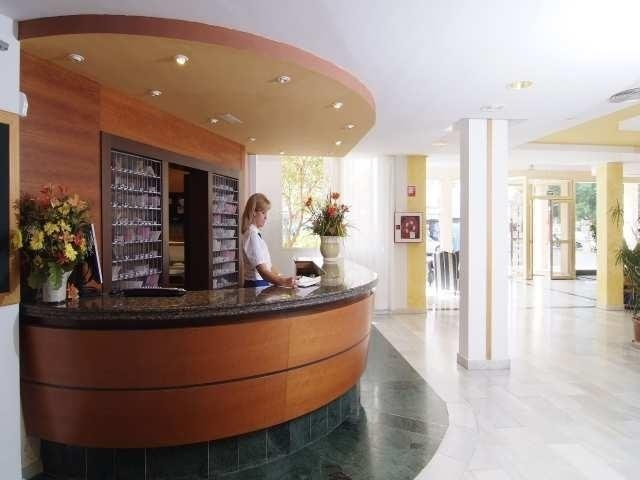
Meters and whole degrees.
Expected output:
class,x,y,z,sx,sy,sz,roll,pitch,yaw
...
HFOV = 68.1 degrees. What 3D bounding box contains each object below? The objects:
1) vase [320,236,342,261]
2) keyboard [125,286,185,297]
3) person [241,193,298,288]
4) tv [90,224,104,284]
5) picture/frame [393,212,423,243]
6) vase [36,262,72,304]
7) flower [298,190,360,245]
class,x,y,z,sx,sy,sz,roll,pitch,yaw
vase,0.161,0.102,6.382,0.327,0.353,0.336,0,2,9
keyboard,-1.374,0.424,3.885,0.528,0.057,0.239,-1,7,-4
person,-0.539,0.021,4.607,0.446,0.932,0.858,-1,7,-10
tv,-1.961,0.119,4.142,0.047,0.344,0.464,-7,-22,-24
picture/frame,1.623,-0.224,8.724,0.539,0.551,0.055,1,-5,-3
vase,-2.051,0.330,3.672,0.243,0.354,0.260,2,1,21
flower,0.080,-0.287,6.462,0.527,0.507,0.613,7,12,12
